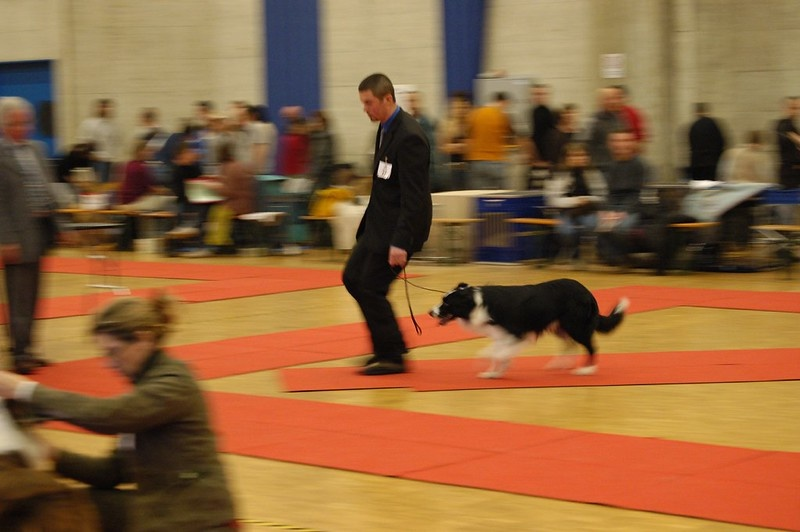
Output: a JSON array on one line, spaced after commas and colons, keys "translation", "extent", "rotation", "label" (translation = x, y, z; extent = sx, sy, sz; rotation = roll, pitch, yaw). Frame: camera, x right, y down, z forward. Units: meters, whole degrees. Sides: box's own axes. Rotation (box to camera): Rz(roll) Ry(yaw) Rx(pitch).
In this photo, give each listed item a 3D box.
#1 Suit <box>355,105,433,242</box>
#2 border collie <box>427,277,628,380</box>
[{"translation": [-0.031, -0.718, 7.626], "extent": [0.534, 1.192, 0.515], "rotation": [-7, 14, -16], "label": "Suit"}, {"translation": [1.000, 0.528, 7.815], "extent": [2.168, 0.663, 0.562], "rotation": [2, 1, -32], "label": "border collie"}]
